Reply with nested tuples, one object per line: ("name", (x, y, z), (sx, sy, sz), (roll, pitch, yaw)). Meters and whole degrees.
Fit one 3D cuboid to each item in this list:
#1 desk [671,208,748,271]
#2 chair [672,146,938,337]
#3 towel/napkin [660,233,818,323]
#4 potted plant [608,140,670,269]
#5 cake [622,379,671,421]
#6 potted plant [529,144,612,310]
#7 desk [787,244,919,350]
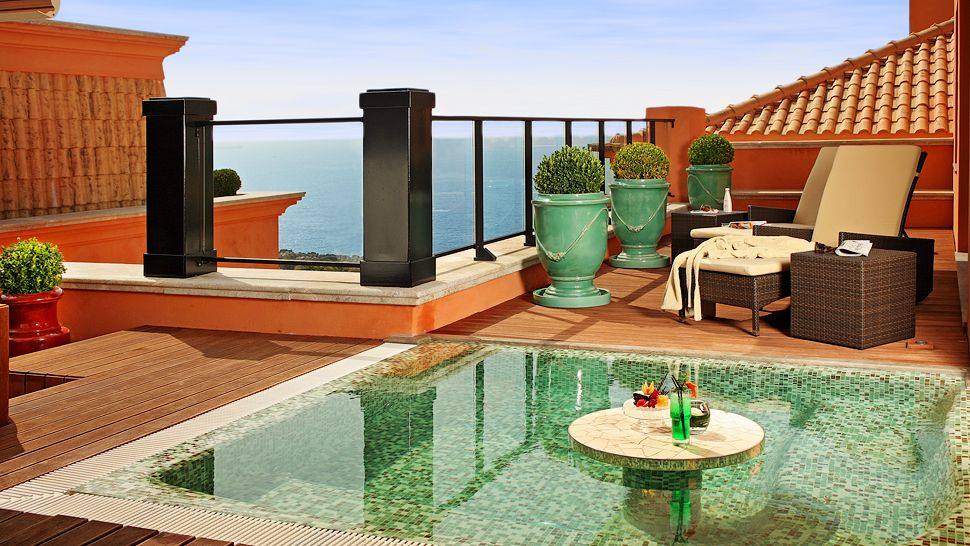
("desk", (2.847, -0.479, 7.990), (0.723, 0.773, 1.020), (4, 9, 34))
("chair", (2.809, -0.498, 6.631), (3.528, 1.962, 1.922), (-4, 8, -35))
("towel/napkin", (2.432, -0.083, 5.696), (1.185, 0.405, 1.068), (-9, 12, -29))
("potted plant", (2.036, -0.870, 8.169), (0.818, 1.629, 0.518), (1, 17, 9))
("cake", (0.960, 0.783, 3.767), (0.306, 0.124, 0.257), (0, 2, -5))
("potted plant", (0.885, -0.469, 6.365), (0.809, 1.594, 0.704), (-1, 17, 4))
("desk", (3.046, 0.217, 5.066), (1.011, 0.729, 0.559), (2, 16, 12))
